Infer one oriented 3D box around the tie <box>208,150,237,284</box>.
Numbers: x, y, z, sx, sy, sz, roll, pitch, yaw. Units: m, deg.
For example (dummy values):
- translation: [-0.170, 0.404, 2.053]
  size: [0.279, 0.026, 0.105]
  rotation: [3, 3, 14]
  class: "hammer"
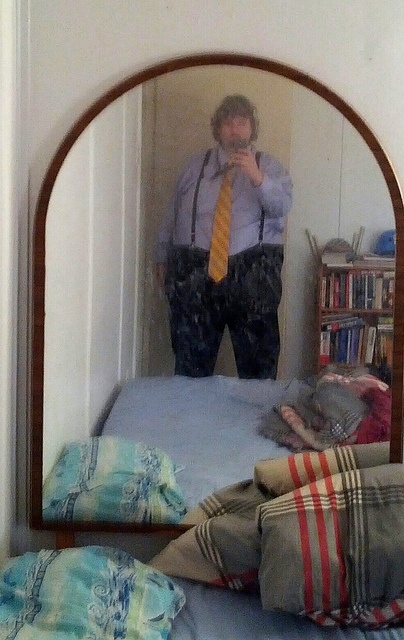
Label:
- translation: [0.050, -0.225, 1.659]
  size: [0.038, 0.299, 0.035]
  rotation: [4, -8, 15]
  class: "tie"
